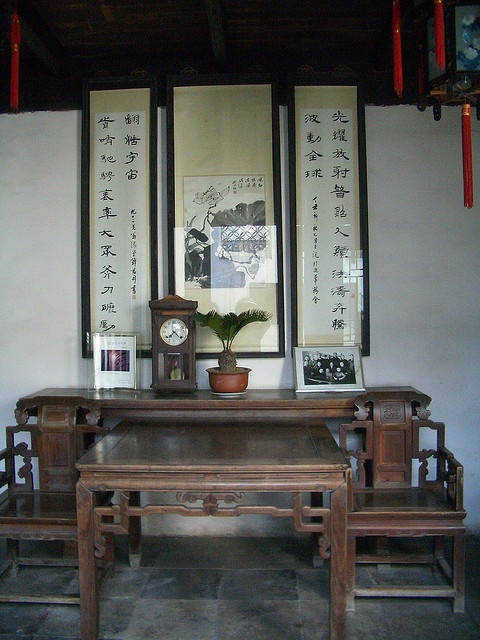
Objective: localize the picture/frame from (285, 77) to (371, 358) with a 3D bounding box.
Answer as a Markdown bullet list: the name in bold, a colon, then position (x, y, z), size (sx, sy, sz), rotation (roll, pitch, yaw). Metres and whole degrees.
- **picture/frame**: position (0.454, -0.558, 3.209), size (0.388, 1.362, 0.161), rotation (-1, 8, -3)

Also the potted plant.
- **potted plant**: position (-0.050, 0.160, 3.110), size (0.383, 0.405, 0.423), rotation (-1, 0, -34)

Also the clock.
- **clock**: position (-0.321, 0.131, 3.127), size (0.248, 0.470, 0.160), rotation (-1, -8, 1)

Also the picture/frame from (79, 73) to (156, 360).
- **picture/frame**: position (-0.626, -0.519, 3.251), size (0.394, 1.423, 0.175), rotation (0, 8, 6)

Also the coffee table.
- **coffee table**: position (-0.104, 0.736, 2.643), size (0.865, 0.647, 0.840), rotation (-1, 6, -2)

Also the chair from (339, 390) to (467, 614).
- **chair**: position (0.725, 0.781, 2.852), size (0.530, 0.865, 0.506), rotation (0, 8, 3)
